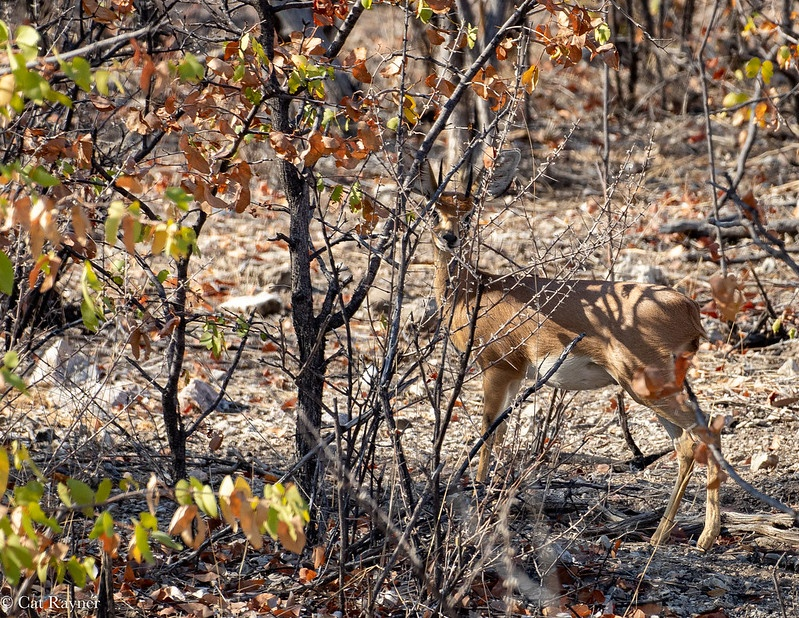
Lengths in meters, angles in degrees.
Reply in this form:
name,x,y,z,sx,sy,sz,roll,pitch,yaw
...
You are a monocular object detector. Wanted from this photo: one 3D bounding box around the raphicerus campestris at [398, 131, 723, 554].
name,x,y,z,sx,sy,sz,roll,pitch,yaw
raphicerus campestris,0.966,0.202,7.208,1.873,2.439,1.681,0,-4,38
